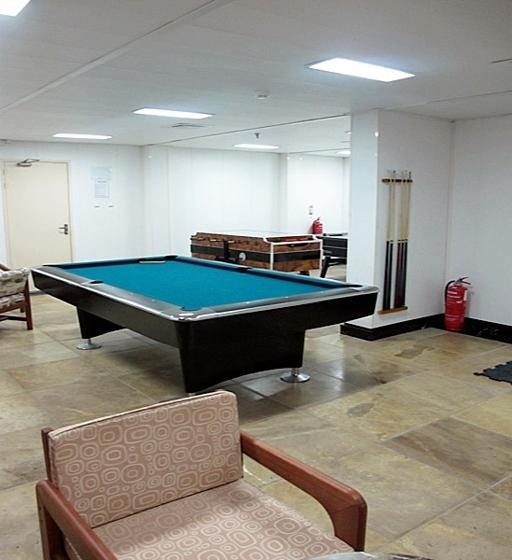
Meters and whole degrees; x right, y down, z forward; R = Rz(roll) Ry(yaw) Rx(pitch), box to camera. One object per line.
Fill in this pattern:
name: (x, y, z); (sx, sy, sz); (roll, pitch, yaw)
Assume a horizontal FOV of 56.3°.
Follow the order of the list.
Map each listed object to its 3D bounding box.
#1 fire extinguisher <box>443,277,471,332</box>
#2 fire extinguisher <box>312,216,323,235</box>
fire extinguisher: (2.378, 0.290, 5.643); (0.354, 0.563, 0.392); (-4, 8, -38)
fire extinguisher: (1.390, -1.243, 10.872); (0.263, 0.385, 0.479); (2, 10, 8)
